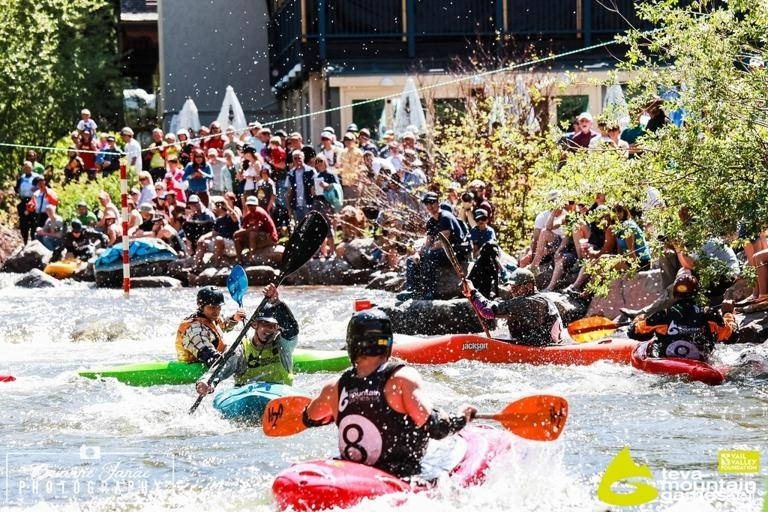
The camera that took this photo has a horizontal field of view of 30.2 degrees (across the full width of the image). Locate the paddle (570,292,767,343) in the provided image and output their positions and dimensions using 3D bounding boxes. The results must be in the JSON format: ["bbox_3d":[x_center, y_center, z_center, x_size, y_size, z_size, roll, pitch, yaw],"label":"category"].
[{"bbox_3d":[4.345,1.049,21.333,3.096,0.724,1.121,-7,13,1],"label":"paddle"}]

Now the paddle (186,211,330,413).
[{"bbox_3d":[-1.844,0.869,21.604,0.395,3.565,0.262,33,1,-1],"label":"paddle"}]

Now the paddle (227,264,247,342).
[{"bbox_3d":[-1.933,0.570,18.831,0.273,0.155,1.084,2,43,-11],"label":"paddle"}]

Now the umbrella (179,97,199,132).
[{"bbox_3d":[-4.637,-3.408,34.170,0.416,0.803,0.399,0,42,1],"label":"umbrella"}]

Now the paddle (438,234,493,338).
[{"bbox_3d":[1.322,0.510,22.673,0.163,0.198,2.109,45,15,-47],"label":"paddle"}]

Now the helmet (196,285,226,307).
[{"bbox_3d":[-2.355,0.530,19.234,0.238,0.278,0.316,0,4,-35],"label":"helmet"}]

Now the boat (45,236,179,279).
[{"bbox_3d":[-5.310,0.034,28.385,1.916,0.498,1.189,-10,-6,0],"label":"boat"}]
